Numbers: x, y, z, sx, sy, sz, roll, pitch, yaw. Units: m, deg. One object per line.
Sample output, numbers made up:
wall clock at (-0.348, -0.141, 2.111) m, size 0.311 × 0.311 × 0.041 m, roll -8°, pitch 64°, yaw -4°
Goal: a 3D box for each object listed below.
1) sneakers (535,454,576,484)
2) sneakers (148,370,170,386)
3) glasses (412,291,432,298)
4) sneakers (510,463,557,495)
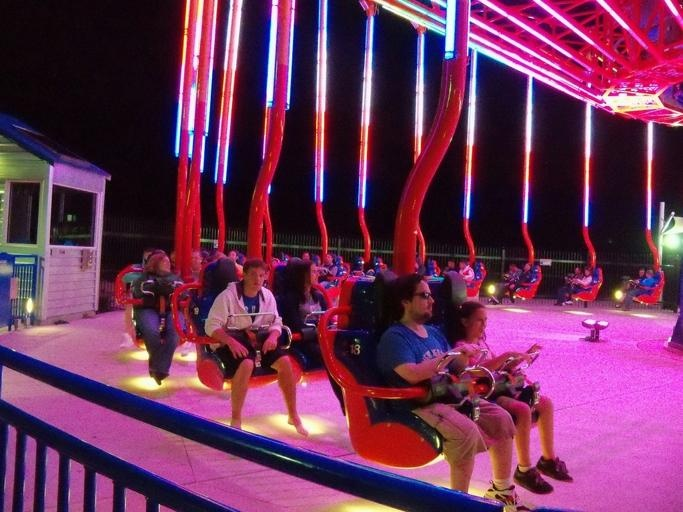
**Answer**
sneakers at (1.873, 1.812, 5.123) m, size 0.286 × 0.141 × 0.169 m, roll 11°, pitch 8°, yaw 27°
sneakers at (-2.216, 1.449, 7.131) m, size 0.210 × 0.200 × 0.199 m, roll 24°, pitch -2°, yaw 19°
glasses at (0.676, 0.308, 4.740) m, size 0.150 × 0.050 × 0.044 m, roll -1°, pitch 2°, yaw -33°
sneakers at (1.610, 1.834, 4.906) m, size 0.313 × 0.164 × 0.167 m, roll 13°, pitch 12°, yaw 30°
